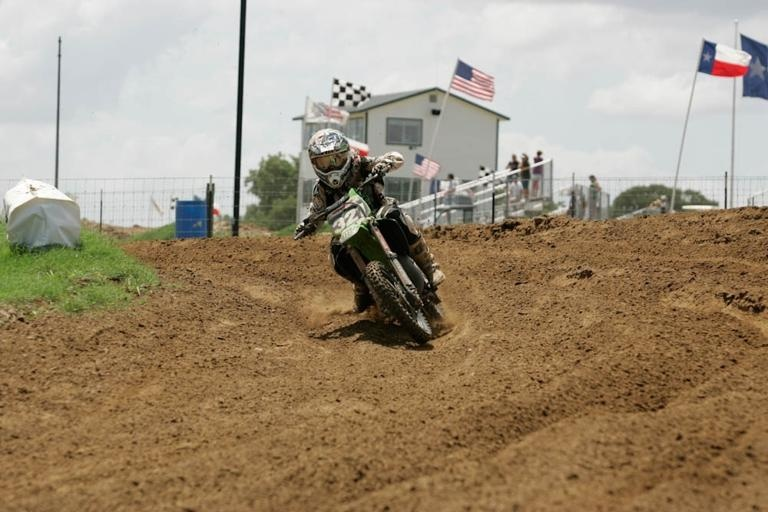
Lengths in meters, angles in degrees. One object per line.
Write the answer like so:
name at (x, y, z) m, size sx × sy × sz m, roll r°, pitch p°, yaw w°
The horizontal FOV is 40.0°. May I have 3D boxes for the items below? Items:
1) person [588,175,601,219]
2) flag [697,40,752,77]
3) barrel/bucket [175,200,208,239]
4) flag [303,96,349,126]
person at (5.126, -1.396, 25.468) m, size 0.259 × 0.988 × 1.031 m, roll 1°, pitch 3°, yaw 21°
flag at (7.692, -4.444, 23.999) m, size 0.953 × 0.809 × 1.563 m, roll 3°, pitch 4°, yaw 42°
barrel/bucket at (-4.511, -0.866, 24.555) m, size 0.740 × 0.845 × 0.620 m, roll 0°, pitch 3°, yaw -4°
flag at (-1.475, -3.672, 26.964) m, size 1.042 × 0.643 × 1.635 m, roll 0°, pitch 3°, yaw -4°
